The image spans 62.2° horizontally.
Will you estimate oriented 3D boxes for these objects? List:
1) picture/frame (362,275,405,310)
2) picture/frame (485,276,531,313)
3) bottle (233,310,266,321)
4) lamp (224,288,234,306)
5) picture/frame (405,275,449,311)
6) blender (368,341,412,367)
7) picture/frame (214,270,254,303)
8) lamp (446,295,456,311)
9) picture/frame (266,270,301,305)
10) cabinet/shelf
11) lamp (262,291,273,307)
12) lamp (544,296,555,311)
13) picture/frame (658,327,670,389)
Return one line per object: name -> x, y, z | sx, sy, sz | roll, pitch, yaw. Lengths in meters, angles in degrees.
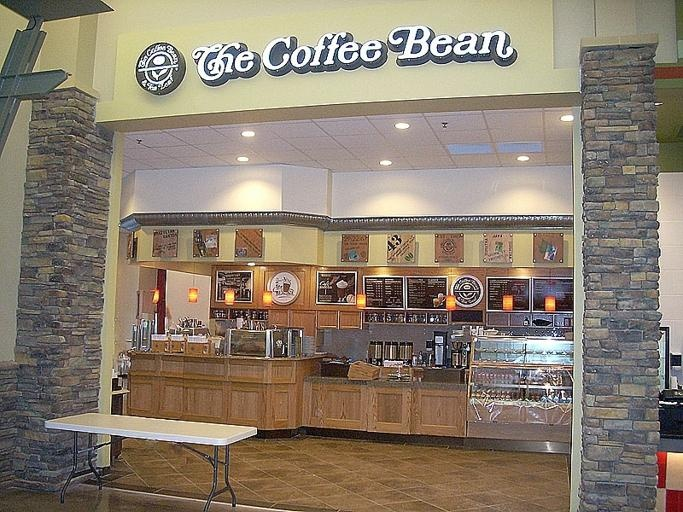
picture/frame -> 0.838, 0.705, 10.746 | 0.707, 0.504, 0.060 | 1, -3, 8
picture/frame -> 3.068, 0.698, 10.303 | 0.690, 0.558, 0.232 | 0, -3, 10
bottle -> -1.783, 1.164, 11.320 | 0.765, 0.190, 0.250 | 1, -1, 13
lamp -> -2.224, 0.795, 11.278 | 0.190, 0.321, 0.159 | 1, -5, 11
picture/frame -> 1.630, 0.698, 10.593 | 0.705, 0.543, 0.056 | 1, -4, 9
blender -> 0.935, 1.838, 10.763 | 0.866, 0.420, 0.422 | 1, -4, 2
picture/frame -> -2.102, 0.603, 11.309 | 0.712, 0.572, 0.091 | 0, -4, 22
lamp -> 2.020, 0.856, 10.464 | 0.167, 0.284, 0.161 | -1, -5, 26
picture/frame -> -1.096, 0.633, 11.051 | 0.706, 0.664, 0.093 | -2, -4, 8
cabinet/shelf -> 2.839, 2.142, 8.906 | 1.847, 1.610, 0.632 | 0, -10, 14
lamp -> -1.435, 0.823, 11.037 | 0.267, 0.349, 0.258 | 2, -5, 0
lamp -> 3.731, 0.852, 10.143 | 0.191, 0.276, 0.128 | 0, -5, 21
picture/frame -> 4.217, 1.317, 7.396 | 0.103, 0.791, 0.453 | -1, -5, 32
